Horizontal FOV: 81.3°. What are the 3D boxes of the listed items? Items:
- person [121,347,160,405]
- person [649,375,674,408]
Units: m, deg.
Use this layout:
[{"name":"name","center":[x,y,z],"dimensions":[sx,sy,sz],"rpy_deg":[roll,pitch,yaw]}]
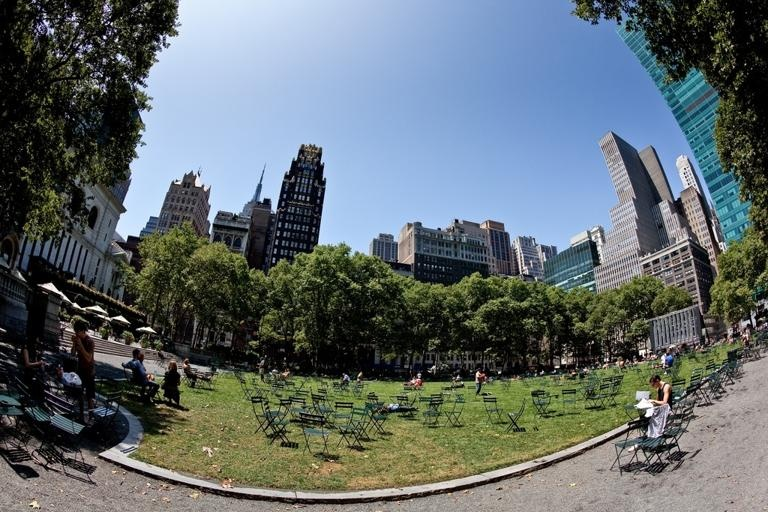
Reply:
[{"name":"person","center":[-11.962,5.999,22.334],"dimensions":[1.454,2.481,0.929],"rpy_deg":[11,-24,-22]},{"name":"person","center":[11.187,5.473,18.213],"dimensions":[0.663,1.304,2.122],"rpy_deg":[-11,-25,28]}]
